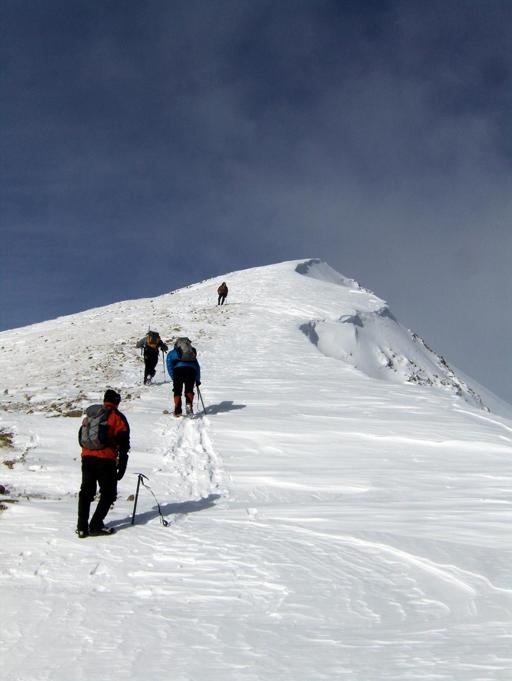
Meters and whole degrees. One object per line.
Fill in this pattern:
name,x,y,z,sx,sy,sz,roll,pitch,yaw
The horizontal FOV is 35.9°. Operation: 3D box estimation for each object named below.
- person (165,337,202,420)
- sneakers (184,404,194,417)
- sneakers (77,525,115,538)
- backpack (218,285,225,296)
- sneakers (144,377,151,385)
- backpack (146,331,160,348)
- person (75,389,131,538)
person,-1.540,0.772,16.468,0.633,1.629,1.324,-2,5,-6
sneakers,-1.386,1.450,15.968,0.131,0.308,0.140,0,29,2
sneakers,-1.885,2.258,9.277,0.431,0.141,0.131,-2,3,-17
backpack,-1.695,-2.367,37.448,0.410,0.436,0.205,6,-14,2
sneakers,-2.847,1.065,20.532,0.165,0.180,0.078,-2,3,-12
backpack,-2.693,-0.005,20.294,0.277,0.431,0.387,-22,-29,38
person,-1.913,1.501,9.567,0.585,1.666,1.085,0,6,15
